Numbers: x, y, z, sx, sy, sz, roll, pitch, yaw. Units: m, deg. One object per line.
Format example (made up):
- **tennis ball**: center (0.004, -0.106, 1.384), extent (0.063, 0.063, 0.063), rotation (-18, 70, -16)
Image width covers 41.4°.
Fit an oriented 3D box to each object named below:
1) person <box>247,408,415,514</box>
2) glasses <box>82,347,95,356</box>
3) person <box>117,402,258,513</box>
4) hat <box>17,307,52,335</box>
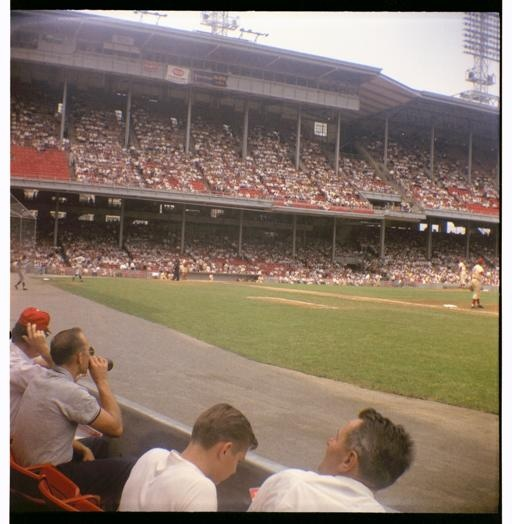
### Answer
- **person**: center (0.663, 1.815, 6.121), extent (0.911, 0.790, 0.451), rotation (35, 12, -23)
- **glasses**: center (-1.657, 0.868, 6.686), extent (0.136, 0.055, 0.142), rotation (-4, -3, -9)
- **person**: center (-0.521, 1.588, 5.262), extent (1.031, 0.949, 0.432), rotation (6, 6, -3)
- **hat**: center (-2.280, 0.588, 6.930), extent (0.309, 0.284, 0.223), rotation (6, 13, -32)
